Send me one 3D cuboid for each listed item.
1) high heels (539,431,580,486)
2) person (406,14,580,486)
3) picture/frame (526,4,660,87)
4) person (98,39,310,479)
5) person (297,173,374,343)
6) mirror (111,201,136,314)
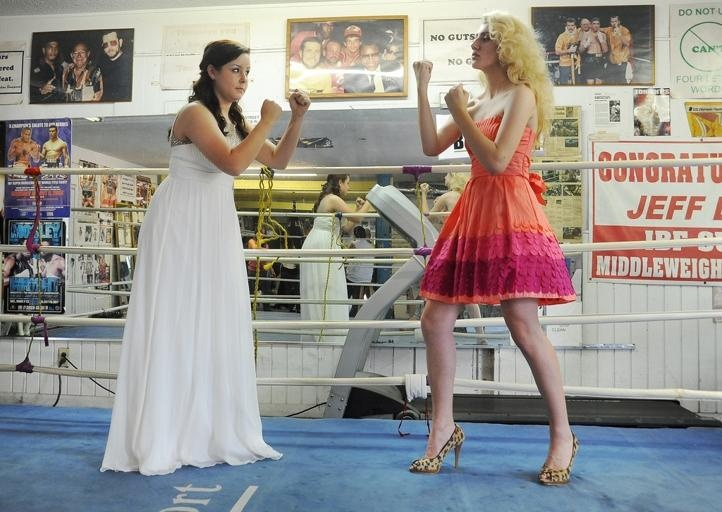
[{"bbox_3d":[1.037,1.057,4.656,0.237,0.232,0.271,4,2,16],"label":"high heels"},{"bbox_3d":[0.755,-0.064,4.685,0.861,2.391,0.689,2,12,8],"label":"person"},{"bbox_3d":[1.811,-1.601,6.661,1.087,0.714,0.020,0,-3,2],"label":"picture/frame"},{"bbox_3d":[-0.893,-0.020,4.762,0.979,2.241,0.743,0,12,-5],"label":"person"},{"bbox_3d":[-0.241,-0.040,7.417,0.408,1.608,0.431,6,2,-15],"label":"person"},{"bbox_3d":[-1.997,0.046,7.375,0.100,0.947,0.248,4,4,-8],"label":"mirror"}]
